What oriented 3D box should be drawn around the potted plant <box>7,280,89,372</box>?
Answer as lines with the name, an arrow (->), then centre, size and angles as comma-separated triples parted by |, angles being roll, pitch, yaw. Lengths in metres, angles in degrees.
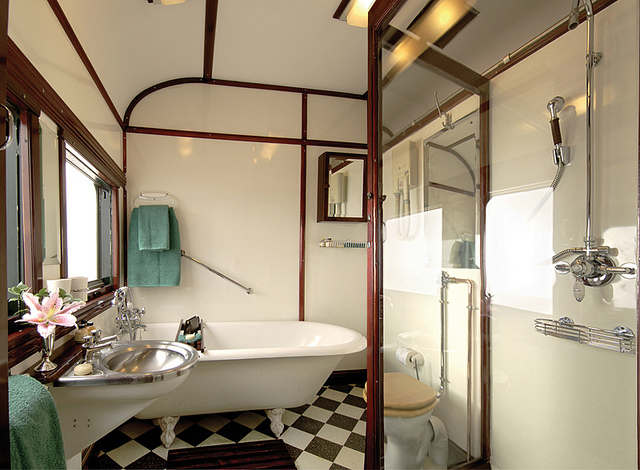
potted plant -> -1.196, 0.393, 2.189 | 0.441, 0.466, 0.368 | 6, -8, -25

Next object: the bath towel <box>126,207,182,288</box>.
bath towel -> -1.347, 0.104, 3.726 | 0.434, 0.648, 0.158 | 0, -5, -4

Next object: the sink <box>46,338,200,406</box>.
sink -> -0.984, 0.703, 2.358 | 0.666, 0.196, 0.517 | 0, 8, -11

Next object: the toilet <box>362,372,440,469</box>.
toilet -> 0.376, 0.857, 2.197 | 0.259, 0.434, 0.440 | -1, 20, 5

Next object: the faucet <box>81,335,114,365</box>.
faucet -> -1.108, 0.578, 2.259 | 0.183, 0.132, 0.064 | -3, -3, 2

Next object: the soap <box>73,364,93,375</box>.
soap -> -1.138, 0.648, 2.149 | 0.077, 0.037, 0.045 | 0, 8, -16

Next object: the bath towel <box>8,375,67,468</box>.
bath towel -> -1.098, 0.740, 1.732 | 0.109, 0.387, 0.278 | -3, -3, -7

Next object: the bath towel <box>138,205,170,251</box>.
bath towel -> -1.334, -0.059, 3.603 | 0.251, 0.357, 0.091 | 0, -7, -5

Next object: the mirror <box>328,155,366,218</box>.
mirror -> 0.238, -0.431, 3.942 | 0.321, 0.524, 0.161 | 2, 7, 2

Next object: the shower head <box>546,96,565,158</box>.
shower head -> 0.894, -0.417, 1.708 | 0.068, 0.229, 0.027 | 7, 9, 34

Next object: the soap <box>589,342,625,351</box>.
soap -> 1.009, 0.394, 1.577 | 0.008, 0.024, 0.103 | -3, 10, -34

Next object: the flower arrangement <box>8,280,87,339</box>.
flower arrangement -> -1.269, 0.343, 2.079 | 0.283, 0.258, 0.349 | -4, 9, -35
